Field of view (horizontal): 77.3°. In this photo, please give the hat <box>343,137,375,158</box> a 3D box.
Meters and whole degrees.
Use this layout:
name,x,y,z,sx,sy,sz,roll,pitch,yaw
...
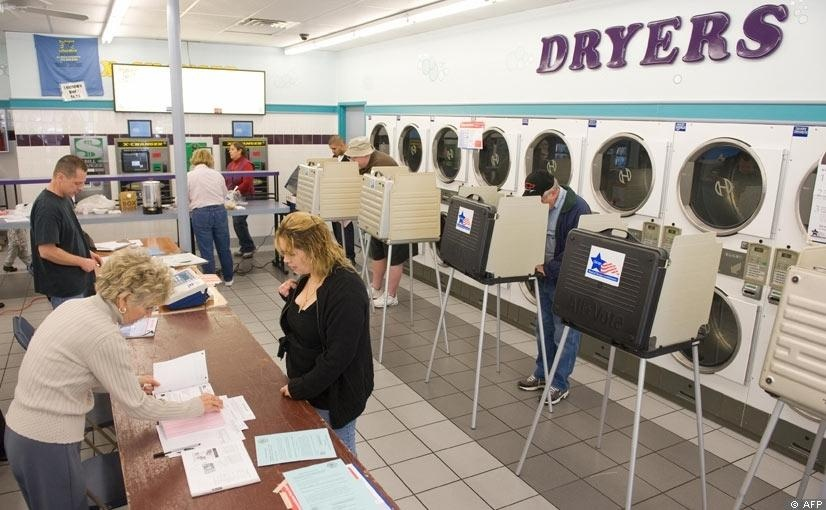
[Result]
name,x,y,z,sx,sy,sz,roll,pitch,yaw
hat,-0.746,-1.498,7.300,0.310,0.160,0.315,-1,20,0

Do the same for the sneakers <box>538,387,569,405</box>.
name,x,y,z,sx,sy,sz,roll,pitch,yaw
sneakers,1.486,1.468,5.390,0.332,0.146,0.125,1,-1,-35

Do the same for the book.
name,x,y,z,sx,sy,sz,roll,pitch,yaw
book,-1.576,0.948,3.552,0.346,0.220,0.610,-5,41,-31

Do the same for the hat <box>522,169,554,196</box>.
name,x,y,z,sx,sy,sz,roll,pitch,yaw
hat,1.202,-0.697,4.997,0.280,0.163,0.205,-44,39,-14

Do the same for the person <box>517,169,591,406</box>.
name,x,y,z,sx,sy,sz,roll,pitch,yaw
person,1.454,0.354,5.178,0.575,2.336,0.650,-7,17,-21

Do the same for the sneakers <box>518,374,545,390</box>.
name,x,y,z,sx,sy,sz,roll,pitch,yaw
sneakers,1.275,1.377,5.570,0.319,0.130,0.121,1,2,-6

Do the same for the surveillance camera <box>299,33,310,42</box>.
name,x,y,z,sx,sy,sz,roll,pitch,yaw
surveillance camera,-1.845,-3.683,8.745,0.144,0.100,0.141,-1,-2,2

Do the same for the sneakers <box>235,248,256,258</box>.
name,x,y,z,sx,sy,sz,roll,pitch,yaw
sneakers,-3.042,-0.039,9.450,0.423,0.169,0.150,2,7,-17

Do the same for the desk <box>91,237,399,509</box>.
name,x,y,z,sx,sy,sz,roll,pitch,yaw
desk,-1.329,1.041,3.543,1.225,0.702,2.994,-5,40,-24

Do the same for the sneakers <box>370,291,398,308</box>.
name,x,y,z,sx,sy,sz,roll,pitch,yaw
sneakers,-0.409,0.642,7.338,0.435,0.178,0.175,1,7,-19
